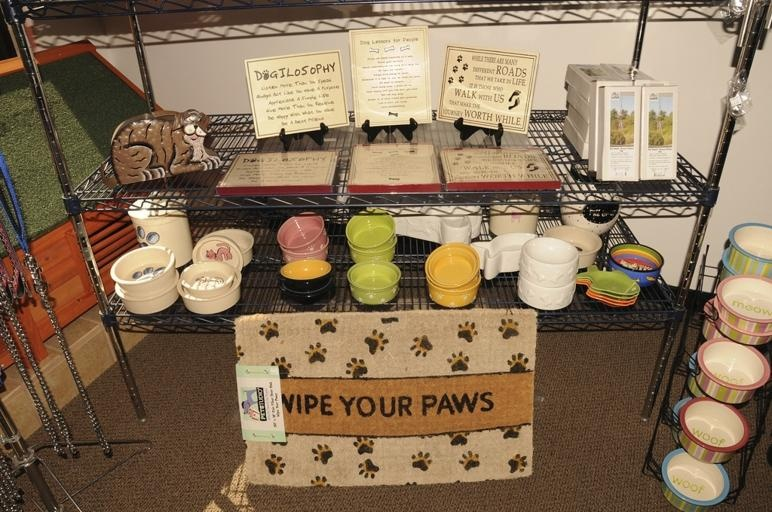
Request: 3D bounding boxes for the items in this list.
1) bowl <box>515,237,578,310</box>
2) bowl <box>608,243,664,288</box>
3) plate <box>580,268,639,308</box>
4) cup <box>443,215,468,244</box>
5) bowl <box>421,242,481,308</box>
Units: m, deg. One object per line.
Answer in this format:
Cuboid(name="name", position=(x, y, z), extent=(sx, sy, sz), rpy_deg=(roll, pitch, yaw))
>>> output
Cuboid(name="bowl", position=(0.569, 0.074, 2.000), extent=(0.252, 0.234, 0.249), rpy_deg=(0, 33, 0))
Cuboid(name="bowl", position=(0.964, 0.022, 2.049), extent=(0.176, 0.106, 0.195), rpy_deg=(8, 44, 9))
Cuboid(name="plate", position=(0.813, 0.109, 1.945), extent=(0.170, 0.062, 0.138), rpy_deg=(12, 36, 22))
Cuboid(name="cup", position=(0.264, -0.102, 2.038), extent=(0.078, 0.082, 0.117), rpy_deg=(-1, 30, 2))
Cuboid(name="bowl", position=(0.242, 0.067, 1.953), extent=(0.196, 0.100, 0.240), rpy_deg=(-5, 62, 4))
